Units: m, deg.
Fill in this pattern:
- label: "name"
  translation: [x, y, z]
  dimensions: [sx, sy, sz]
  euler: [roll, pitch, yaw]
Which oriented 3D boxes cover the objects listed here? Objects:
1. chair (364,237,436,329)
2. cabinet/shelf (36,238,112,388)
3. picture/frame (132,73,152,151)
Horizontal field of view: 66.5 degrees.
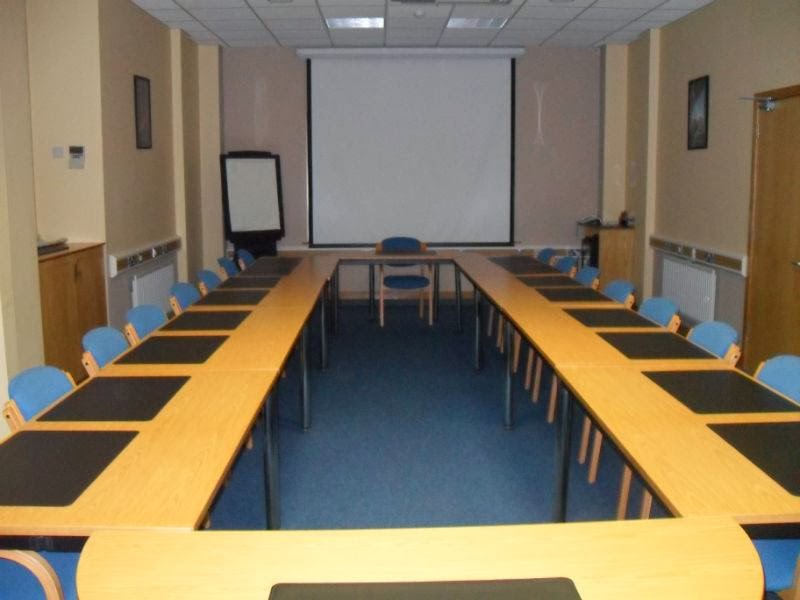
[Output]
- label: "chair"
  translation: [0.045, -0.251, 7.939]
  dimensions: [0.677, 1.190, 0.785]
  euler: [-2, 3, -15]
- label: "cabinet/shelf"
  translation: [-2.773, 0.096, 5.404]
  dimensions: [0.943, 1.069, 0.288]
  euler: [-6, -2, 29]
- label: "picture/frame"
  translation: [-2.829, -2.069, 6.702]
  dimensions: [0.017, 0.742, 0.556]
  euler: [-6, 17, -36]
